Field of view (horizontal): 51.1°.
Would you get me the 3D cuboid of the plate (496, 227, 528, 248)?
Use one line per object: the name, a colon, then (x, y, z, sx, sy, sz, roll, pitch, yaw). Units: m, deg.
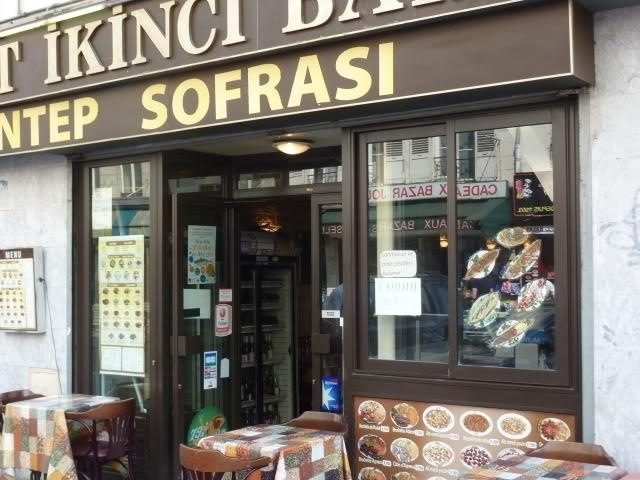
plate: (1.459, -0.026, 5.069, 0.242, 0.155, 0.018, -5, -3, 31)

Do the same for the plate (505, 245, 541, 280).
plate: (1.526, 0.159, 5.036, 0.050, 0.271, 0.181, 0, 28, -38)

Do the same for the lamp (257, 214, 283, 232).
lamp: (-0.589, -0.209, 8.049, 0.353, 0.213, 0.221, -2, -3, -24)

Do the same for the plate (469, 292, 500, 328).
plate: (1.269, 0.536, 5.145, 0.280, 0.188, 0.069, -49, -28, 22)

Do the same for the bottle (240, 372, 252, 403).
bottle: (-0.848, 1.700, 7.754, 0.045, 0.357, 0.198, -6, -4, 39)

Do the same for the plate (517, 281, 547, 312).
plate: (1.585, 0.410, 5.000, 0.219, 0.240, 0.042, -6, -4, 39)

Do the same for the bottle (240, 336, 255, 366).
bottle: (-0.840, 1.273, 7.711, 0.193, 0.345, 0.058, -1, -4, -39)

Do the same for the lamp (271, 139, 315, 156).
lamp: (-0.239, -0.910, 6.386, 0.368, 0.112, 0.241, -2, -3, -32)

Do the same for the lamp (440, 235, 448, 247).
lamp: (0.983, 0.000, 5.287, 0.083, 0.091, 0.085, 1, 2, -5)
